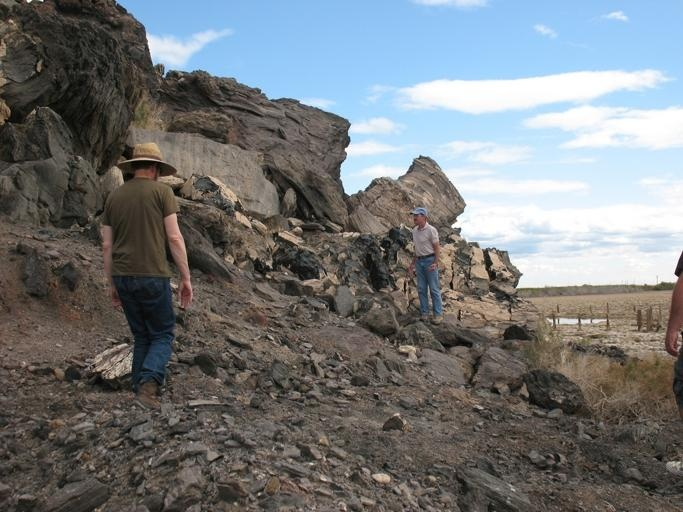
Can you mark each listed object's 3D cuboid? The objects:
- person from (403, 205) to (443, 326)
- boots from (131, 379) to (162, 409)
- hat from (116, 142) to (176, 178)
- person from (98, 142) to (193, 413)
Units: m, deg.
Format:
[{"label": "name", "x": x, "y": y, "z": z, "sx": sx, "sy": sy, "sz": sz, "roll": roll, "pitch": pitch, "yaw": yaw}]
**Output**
[{"label": "person", "x": 1.492, "y": 0.114, "z": 11.935, "sx": 0.662, "sy": 1.894, "sz": 0.610, "roll": 3, "pitch": 4, "yaw": 23}, {"label": "boots", "x": -2.169, "y": 1.535, "z": 7.580, "sx": 0.190, "sy": 0.386, "sz": 0.377, "roll": 2, "pitch": 4, "yaw": 13}, {"label": "hat", "x": -2.225, "y": -1.117, "z": 7.972, "sx": 0.480, "sy": 0.270, "sz": 0.498, "roll": 8, "pitch": -3, "yaw": 25}, {"label": "person", "x": -2.238, "y": 0.175, "z": 7.765, "sx": 0.812, "sy": 2.938, "sz": 0.708, "roll": 4, "pitch": 5, "yaw": 39}]
